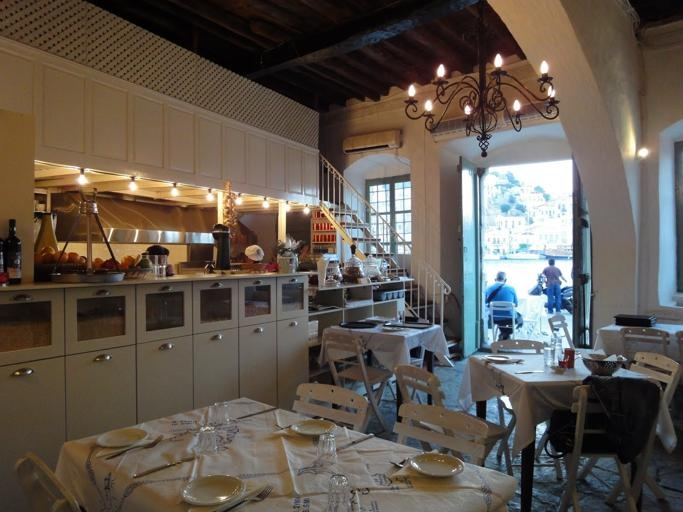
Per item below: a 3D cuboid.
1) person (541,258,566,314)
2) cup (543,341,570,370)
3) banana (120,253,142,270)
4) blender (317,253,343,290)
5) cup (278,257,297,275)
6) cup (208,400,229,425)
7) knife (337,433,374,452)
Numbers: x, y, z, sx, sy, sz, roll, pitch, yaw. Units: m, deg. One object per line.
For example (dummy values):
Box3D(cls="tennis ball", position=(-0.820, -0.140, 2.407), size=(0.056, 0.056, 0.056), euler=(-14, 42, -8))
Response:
Box3D(cls="person", position=(4.464, 0.643, 11.456), size=(0.636, 1.034, 1.029), euler=(-1, 4, 1))
Box3D(cls="cup", position=(2.007, 0.943, 5.110), size=(0.205, 0.218, 0.189), euler=(0, -3, 0))
Box3D(cls="banana", position=(-2.161, 0.059, 5.562), size=(0.113, 0.095, 0.151), euler=(1, 15, -5))
Box3D(cls="blender", position=(-0.032, 0.203, 7.473), size=(0.242, 0.434, 0.431), euler=(-11, 7, -41))
Box3D(cls="cup", position=(-0.635, 0.110, 6.391), size=(0.176, 0.146, 0.205), euler=(2, 4, 24))
Box3D(cls="cup", position=(-0.847, 1.109, 3.852), size=(0.139, 0.141, 0.144), euler=(1, -5, 0))
Box3D(cls="knife", position=(0.091, 1.307, 3.777), size=(0.272, 0.033, 0.036), euler=(-8, 9, -44))
